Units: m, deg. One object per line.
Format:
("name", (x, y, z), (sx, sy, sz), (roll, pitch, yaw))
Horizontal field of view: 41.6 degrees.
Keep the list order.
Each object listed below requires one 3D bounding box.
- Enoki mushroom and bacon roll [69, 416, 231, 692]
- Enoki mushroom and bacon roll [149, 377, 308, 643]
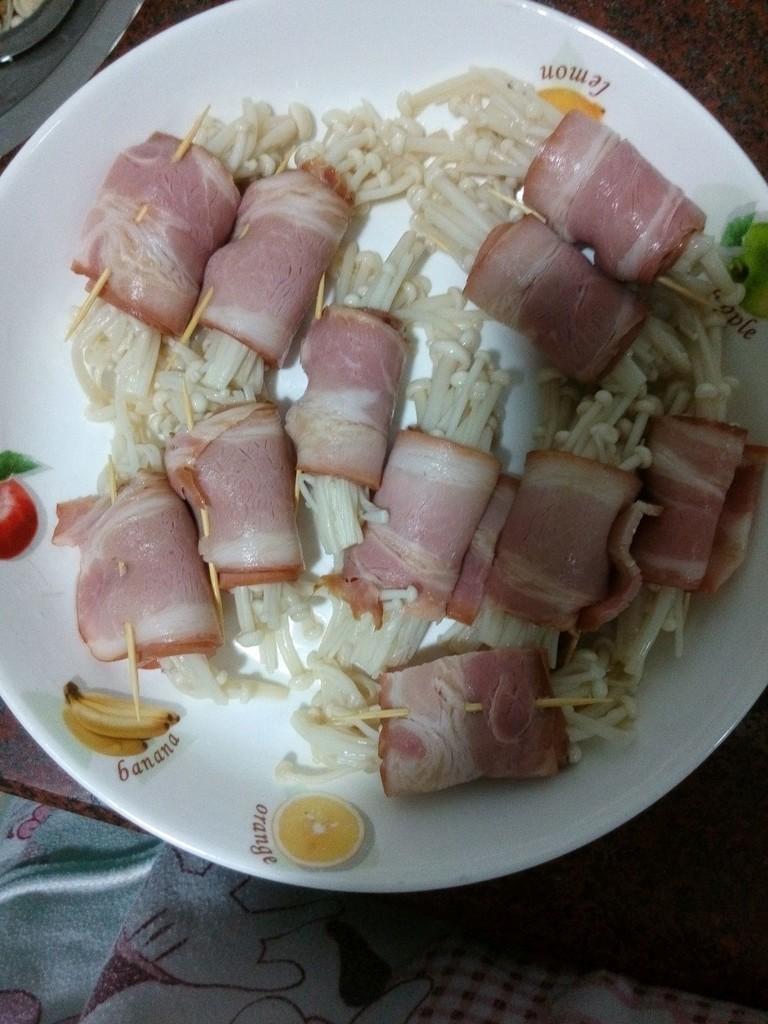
("Enoki mushroom and bacon roll", (-0.649, 0.200, 2.764), (0.474, 0.205, 0.477), (0, 91, -1))
("Enoki mushroom and bacon roll", (-0.388, -0.052, 2.583), (0.376, 0.221, 0.501), (-11, 89, 6))
